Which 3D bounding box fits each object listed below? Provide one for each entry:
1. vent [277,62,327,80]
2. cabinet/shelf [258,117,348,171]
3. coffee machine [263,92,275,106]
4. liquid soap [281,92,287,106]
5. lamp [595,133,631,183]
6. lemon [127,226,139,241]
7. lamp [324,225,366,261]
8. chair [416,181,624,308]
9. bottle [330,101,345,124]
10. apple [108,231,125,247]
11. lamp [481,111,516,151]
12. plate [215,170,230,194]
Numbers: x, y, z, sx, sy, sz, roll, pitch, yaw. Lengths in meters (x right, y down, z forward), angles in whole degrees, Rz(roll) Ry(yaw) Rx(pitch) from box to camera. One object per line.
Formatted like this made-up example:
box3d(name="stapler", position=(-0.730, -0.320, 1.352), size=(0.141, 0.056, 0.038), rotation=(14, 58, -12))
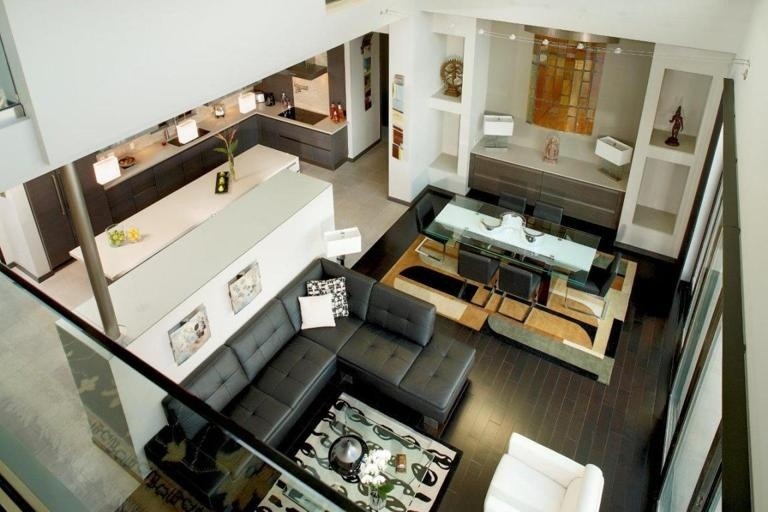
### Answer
box3d(name="vent", position=(-1.767, -4.061, 11.439), size=(1.024, 0.366, 0.366), rotation=(14, 16, 25))
box3d(name="cabinet/shelf", position=(-1.730, -2.483, 11.541), size=(1.713, 0.775, 0.575), rotation=(18, 46, 18))
box3d(name="coffee machine", position=(-2.679, -3.655, 12.159), size=(0.150, 0.279, 0.167), rotation=(25, 50, 20))
box3d(name="liquid soap", position=(-2.331, -3.638, 12.121), size=(0.190, 0.298, 0.081), rotation=(17, 18, 36))
box3d(name="lamp", position=(4.313, -1.817, 9.794), size=(0.262, 0.766, 0.794), rotation=(-32, 47, -16))
box3d(name="lemon", position=(-4.134, -0.364, 8.606), size=(0.215, 0.207, 0.363), rotation=(0, 16, -25))
box3d(name="lamp", position=(-0.611, -0.064, 8.068), size=(0.760, 0.523, 0.415), rotation=(-8, 45, -4))
box3d(name="chair", position=(2.179, -0.218, 8.725), size=(3.233, 1.076, 1.095), rotation=(13, 16, 23))
box3d(name="bottle", position=(-1.040, -3.209, 11.733), size=(0.347, 0.408, 0.395), rotation=(-9, 47, -6))
box3d(name="apple", position=(-4.328, -0.269, 8.457), size=(0.155, 0.157, 0.151), rotation=(-33, 63, -29))
box3d(name="lamp", position=(2.310, -2.629, 10.615), size=(0.684, 0.664, 0.689), rotation=(4, 48, 6))
box3d(name="plate", position=(-3.024, -1.367, 9.777), size=(0.231, 0.137, 0.527), rotation=(-6, 46, 6))
